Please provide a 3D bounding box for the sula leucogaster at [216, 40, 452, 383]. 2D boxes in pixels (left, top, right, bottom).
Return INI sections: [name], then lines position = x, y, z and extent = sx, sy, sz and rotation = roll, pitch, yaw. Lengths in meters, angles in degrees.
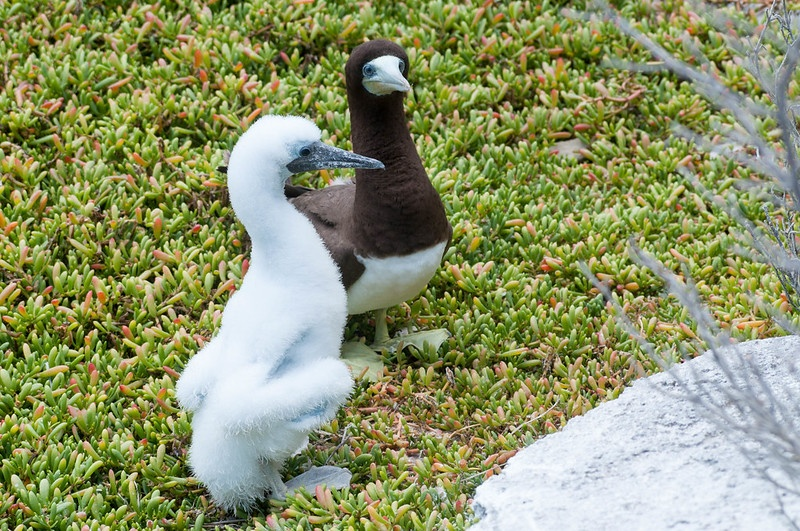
[sula leucogaster]
position = -0.322, -0.476, 7.064
extent = 1.535, 2.552, 1.022
rotation = 25, 40, 39
